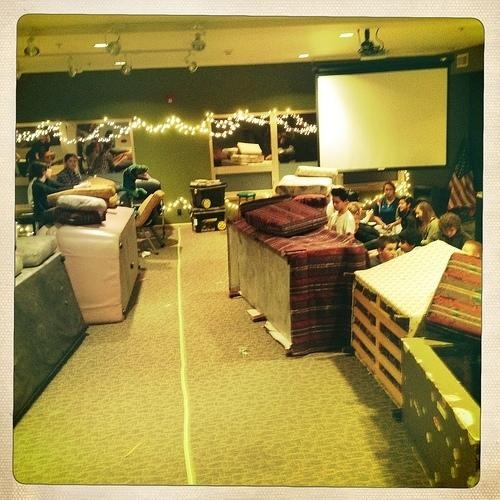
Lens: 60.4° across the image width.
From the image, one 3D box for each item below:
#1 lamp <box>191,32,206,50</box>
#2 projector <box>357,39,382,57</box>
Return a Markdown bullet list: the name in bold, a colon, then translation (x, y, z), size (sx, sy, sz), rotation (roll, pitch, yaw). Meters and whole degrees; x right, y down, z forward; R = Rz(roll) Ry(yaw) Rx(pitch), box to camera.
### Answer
- **lamp**: translation (-0.381, -1.500, 3.093), size (0.087, 0.121, 0.144), rotation (-5, 13, -7)
- **projector**: translation (1.003, -1.682, 3.594), size (0.166, 0.067, 0.139), rotation (-12, 24, -26)
